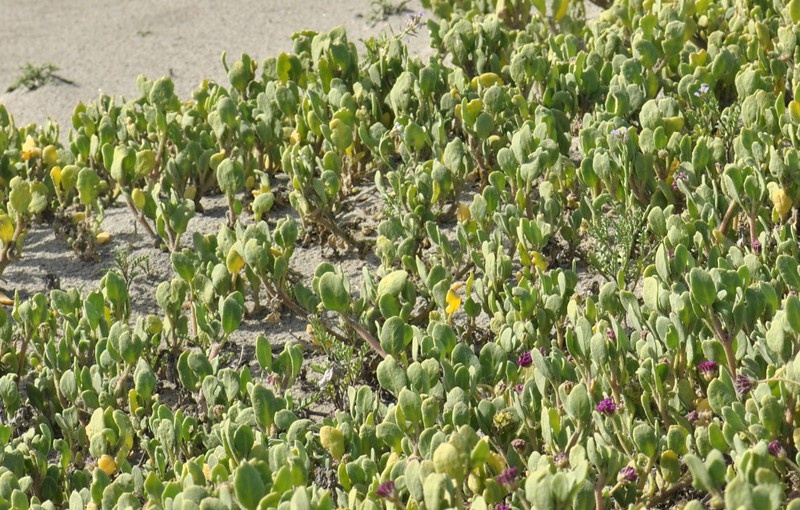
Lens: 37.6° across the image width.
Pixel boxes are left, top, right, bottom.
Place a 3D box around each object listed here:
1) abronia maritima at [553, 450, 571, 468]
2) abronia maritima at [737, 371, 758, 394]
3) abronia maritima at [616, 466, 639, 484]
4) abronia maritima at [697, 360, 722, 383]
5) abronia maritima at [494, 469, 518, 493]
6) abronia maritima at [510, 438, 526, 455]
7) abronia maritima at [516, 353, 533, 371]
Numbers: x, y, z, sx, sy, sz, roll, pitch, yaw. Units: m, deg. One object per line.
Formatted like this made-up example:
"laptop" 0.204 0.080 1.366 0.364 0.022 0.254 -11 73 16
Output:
"abronia maritima" 0.797 0.984 5.798 0.075 0.072 0.120 -7 24 8
"abronia maritima" 1.727 0.631 5.872 0.092 0.075 0.075 -4 6 -16
"abronia maritima" 1.103 1.051 5.678 0.080 0.080 0.084 -23 -16 -39
"abronia maritima" 1.568 0.576 5.970 0.098 0.118 0.101 -11 6 0
"abronia maritima" 0.512 1.027 5.500 0.097 0.091 0.096 -44 11 -13
"abronia maritima" 0.588 0.927 5.847 0.066 0.071 0.066 -24 24 -23
"abronia maritima" 0.670 0.559 6.212 0.067 0.076 0.069 22 -15 -24
